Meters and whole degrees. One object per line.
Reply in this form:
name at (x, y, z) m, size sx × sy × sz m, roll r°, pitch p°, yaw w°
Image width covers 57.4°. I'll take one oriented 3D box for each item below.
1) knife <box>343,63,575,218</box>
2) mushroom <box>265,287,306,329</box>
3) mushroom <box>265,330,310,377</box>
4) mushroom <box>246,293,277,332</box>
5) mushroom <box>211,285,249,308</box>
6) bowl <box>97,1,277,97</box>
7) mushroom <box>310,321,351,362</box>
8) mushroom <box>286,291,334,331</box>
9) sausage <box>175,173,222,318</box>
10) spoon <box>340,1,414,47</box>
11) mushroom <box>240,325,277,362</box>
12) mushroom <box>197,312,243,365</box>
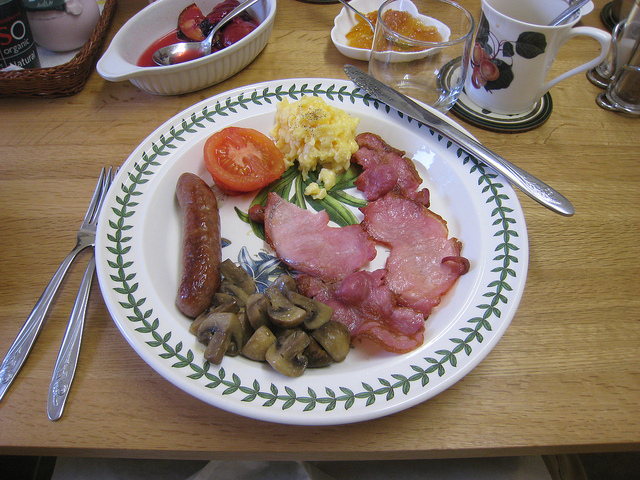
knife at (0.504, -0.358, 2.178) m, size 0.110 × 0.043 × 0.935 m, roll -39°, pitch 61°, yaw -20°
mushroom at (-0.106, 0.209, 1.774) m, size 0.134 × 0.066 × 0.101 m, roll 22°, pitch 29°, yaw 35°
mushroom at (-0.079, 0.331, 1.733) m, size 0.125 × 0.063 × 0.133 m, roll 38°, pitch 79°, yaw 8°
mushroom at (-0.186, 0.217, 1.762) m, size 0.093 × 0.030 × 0.105 m, roll -7°, pitch 74°, yaw -3°
mushroom at (-0.282, 0.173, 1.834) m, size 0.116 × 0.032 × 0.070 m, roll 2°, pitch 77°, yaw 0°
bowl at (-0.562, -0.813, 2.427) m, size 0.650 × 0.132 × 0.435 m, roll -37°, pitch 63°, yaw -27°
mushroom at (0.048, 0.296, 1.765) m, size 0.128 × 0.034 × 0.115 m, roll -10°, pitch 70°, yaw -14°
mushroom at (-0.039, 0.208, 1.801) m, size 0.099 × 0.042 × 0.149 m, roll -39°, pitch 57°, yaw -19°
sausage at (-0.404, -0.001, 1.947) m, size 0.153 × 0.174 × 0.523 m, roll -5°, pitch 77°, yaw -1°
spoon at (0.236, -0.880, 2.392) m, size 0.060 × 0.049 × 0.433 m, roll -34°, pitch 64°, yaw -19°
mushroom at (-0.181, 0.311, 1.745) m, size 0.098 × 0.102 × 0.042 m, roll -32°, pitch 37°, yaw 3°
mushroom at (-0.295, 0.285, 1.743) m, size 0.139 × 0.058 × 0.140 m, roll -34°, pitch 79°, yaw -8°
